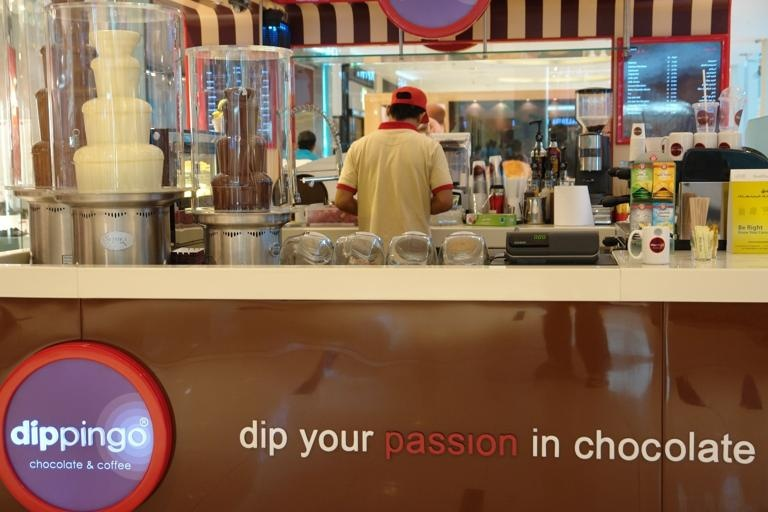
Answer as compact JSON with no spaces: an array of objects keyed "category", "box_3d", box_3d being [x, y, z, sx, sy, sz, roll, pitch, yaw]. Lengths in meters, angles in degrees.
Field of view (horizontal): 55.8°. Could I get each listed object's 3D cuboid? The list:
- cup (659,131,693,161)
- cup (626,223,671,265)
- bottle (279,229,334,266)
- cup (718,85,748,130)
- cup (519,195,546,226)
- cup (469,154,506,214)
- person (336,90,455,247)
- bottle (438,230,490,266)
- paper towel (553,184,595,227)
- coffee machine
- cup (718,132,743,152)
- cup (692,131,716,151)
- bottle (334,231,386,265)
[{"category":"cup","box_3d":[1.171,-0.455,2.935,0.139,0.137,0.091,7,8,39]},{"category":"cup","box_3d":[0.860,-0.029,2.286,0.076,0.138,0.128,6,-9,-36]},{"category":"bottle","box_3d":[-0.256,-0.001,2.417,0.184,0.174,0.149,0,-5,12]},{"category":"cup","box_3d":[1.465,-0.628,3.060,0.090,0.167,0.221,2,15,25]},{"category":"cup","box_3d":[0.895,-0.273,4.304,0.159,0.181,0.108,0,2,20]},{"category":"cup","box_3d":[0.634,-0.443,4.425,0.209,0.319,0.281,-2,14,9]},{"category":"person","box_3d":[0.058,-0.291,4.071,0.566,1.342,0.416,0,27,-4]},{"category":"bottle","box_3d":[0.270,-0.012,2.355,0.165,0.126,0.158,-4,14,1]},{"category":"paper towel","box_3d":[1.004,-0.248,3.916,0.209,0.226,0.168,1,-12,-2]},{"category":"coffee machine","box_3d":[1.415,-0.769,4.908,0.235,0.694,0.641,0,14,17]},{"category":"cup","box_3d":[1.344,-0.442,2.816,0.070,0.081,0.072,1,4,0]},{"category":"cup","box_3d":[1.260,-0.452,2.849,0.066,0.067,0.064,2,7,0]},{"category":"bottle","box_3d":[-0.081,-0.020,2.312,0.124,0.119,0.096,-3,13,-7]}]
